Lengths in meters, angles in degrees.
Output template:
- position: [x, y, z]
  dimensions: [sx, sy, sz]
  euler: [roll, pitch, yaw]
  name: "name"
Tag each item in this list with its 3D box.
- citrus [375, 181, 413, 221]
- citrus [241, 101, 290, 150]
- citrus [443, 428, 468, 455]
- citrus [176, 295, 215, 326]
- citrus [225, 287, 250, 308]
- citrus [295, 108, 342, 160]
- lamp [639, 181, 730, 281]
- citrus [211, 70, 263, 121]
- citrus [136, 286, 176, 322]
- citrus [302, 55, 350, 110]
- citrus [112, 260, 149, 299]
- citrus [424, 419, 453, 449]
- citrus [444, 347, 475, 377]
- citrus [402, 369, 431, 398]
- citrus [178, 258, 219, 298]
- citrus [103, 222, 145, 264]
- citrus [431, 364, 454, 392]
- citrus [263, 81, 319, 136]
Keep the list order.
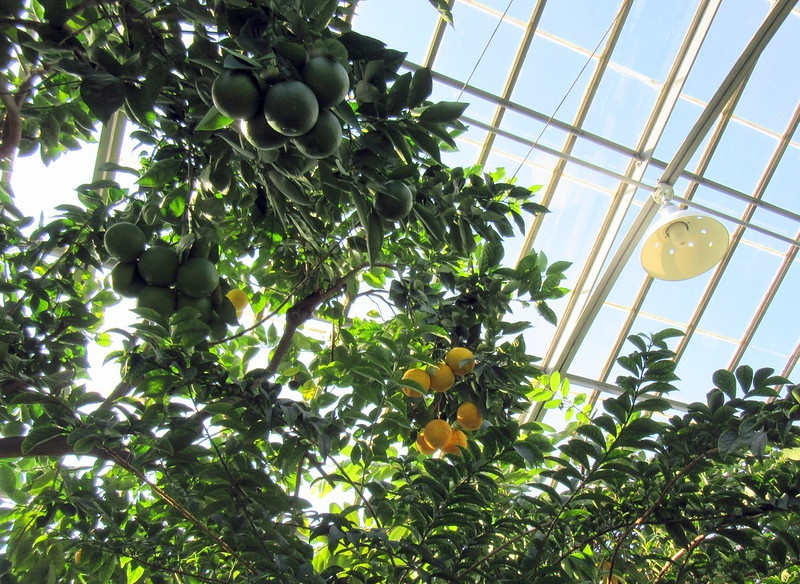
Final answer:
- position: [-0.021, -0.289, 2.204]
  dimensions: [0.114, 0.118, 0.142]
  euler: [7, -86, 10]
  name: "citrus"
- position: [-0.408, -0.489, 2.004]
  dimensions: [0.111, 0.130, 0.117]
  euler: [-4, -75, -39]
  name: "citrus"
- position: [0.219, 0.607, 2.751]
  dimensions: [0.092, 0.094, 0.112]
  euler: [-1, -88, 7]
  name: "citrus"
- position: [-0.688, 0.056, 2.311]
  dimensions: [0.090, 0.109, 0.089]
  euler: [24, -51, -35]
  name: "citrus"
- position: [-0.689, 0.023, 2.894]
  dimensions: [0.056, 0.067, 0.057]
  euler: [-24, -41, 17]
  name: "citrus"
- position: [-0.225, -0.453, 2.082]
  dimensions: [0.130, 0.136, 0.162]
  euler: [18, -88, -2]
  name: "citrus"
- position: [2.558, -0.584, 6.423]
  dimensions: [0.706, 0.814, 0.786]
  euler: [-6, -54, 8]
  name: "lamp"
- position: [-0.478, -0.576, 2.029]
  dimensions: [0.130, 0.155, 0.132]
  euler: [-1, -42, -24]
  name: "citrus"
- position: [-0.826, 0.039, 2.325]
  dimensions: [0.110, 0.104, 0.114]
  euler: [-4, -103, -28]
  name: "citrus"
- position: [-0.230, -0.603, 2.026]
  dimensions: [0.097, 0.103, 0.122]
  euler: [-2, -110, 18]
  name: "citrus"
- position: [-0.928, -0.040, 2.402]
  dimensions: [0.114, 0.117, 0.137]
  euler: [-14, -100, 2]
  name: "citrus"
- position: [0.149, 0.568, 2.789]
  dimensions: [0.107, 0.105, 0.110]
  euler: [10, -58, -6]
  name: "citrus"
- position: [0.233, 0.276, 2.726]
  dimensions: [0.101, 0.121, 0.106]
  euler: [15, -74, -3]
  name: "citrus"
- position: [0.067, 0.349, 2.691]
  dimensions: [0.102, 0.105, 0.124]
  euler: [17, -86, 12]
  name: "citrus"
- position: [-0.691, -0.047, 2.330]
  dimensions: [0.133, 0.079, 0.124]
  euler: [13, -65, 4]
  name: "citrus"
- position: [-0.946, -0.175, 2.378]
  dimensions: [0.125, 0.106, 0.122]
  euler: [2, -66, 10]
  name: "citrus"
- position: [0.168, 0.353, 2.805]
  dimensions: [0.097, 0.096, 0.118]
  euler: [0, -83, 2]
  name: "citrus"
- position: [-0.294, -0.520, 1.974]
  dimensions: [0.152, 0.182, 0.149]
  euler: [-3, -45, -6]
  name: "citrus"
